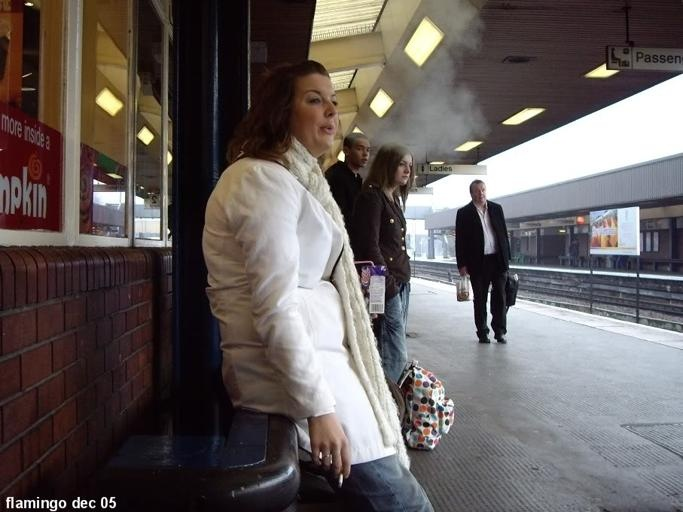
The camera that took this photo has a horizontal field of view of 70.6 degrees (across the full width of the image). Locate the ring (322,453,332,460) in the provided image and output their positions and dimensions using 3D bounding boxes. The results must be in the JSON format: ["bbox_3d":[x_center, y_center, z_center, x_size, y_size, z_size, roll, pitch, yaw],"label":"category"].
[{"bbox_3d":[-0.044,0.579,1.398,0.019,0.016,0.020,1,-7,0],"label":"ring"}]

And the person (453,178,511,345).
[{"bbox_3d":[1.784,0.050,6.161,0.650,2.029,0.364,1,4,16],"label":"person"}]

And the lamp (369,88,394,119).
[{"bbox_3d":[0.820,-3.151,10.017,0.107,0.337,0.481,-26,-15,-34],"label":"lamp"}]

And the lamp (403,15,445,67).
[{"bbox_3d":[1.200,-3.156,7.122,0.094,0.301,0.452,-42,-4,-27],"label":"lamp"}]

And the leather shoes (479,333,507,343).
[{"bbox_3d":[1.883,1.033,6.045,0.344,0.168,0.136,1,-3,-6],"label":"leather shoes"}]

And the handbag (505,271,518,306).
[{"bbox_3d":[2.170,0.430,6.159,0.140,0.449,0.341,1,4,19],"label":"handbag"}]
